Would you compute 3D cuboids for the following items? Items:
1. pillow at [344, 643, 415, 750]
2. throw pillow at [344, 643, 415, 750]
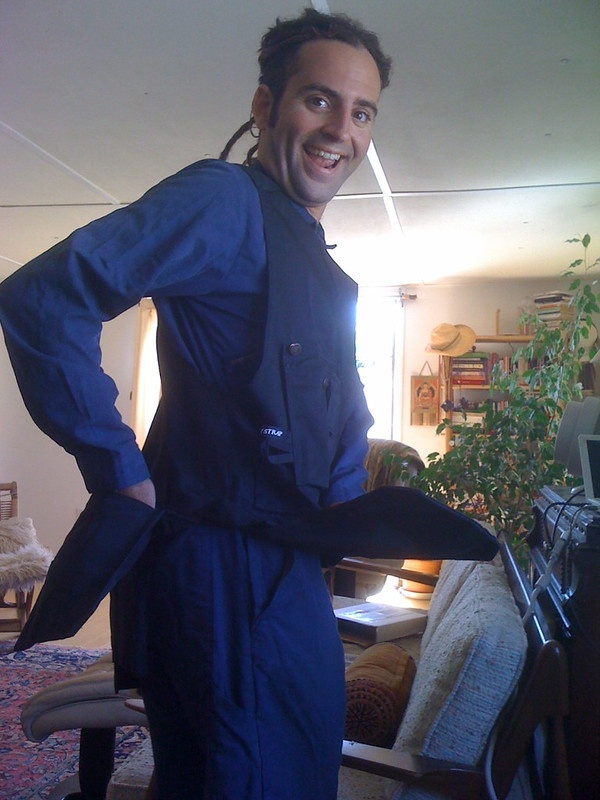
[{"bbox_3d":[0.178,0.646,1.516,0.120,0.085,0.216,-20,-1,10],"label":"pillow"},{"bbox_3d":[0.177,0.643,1.509,0.120,0.085,0.216,-20,-1,10],"label":"throw pillow"}]
